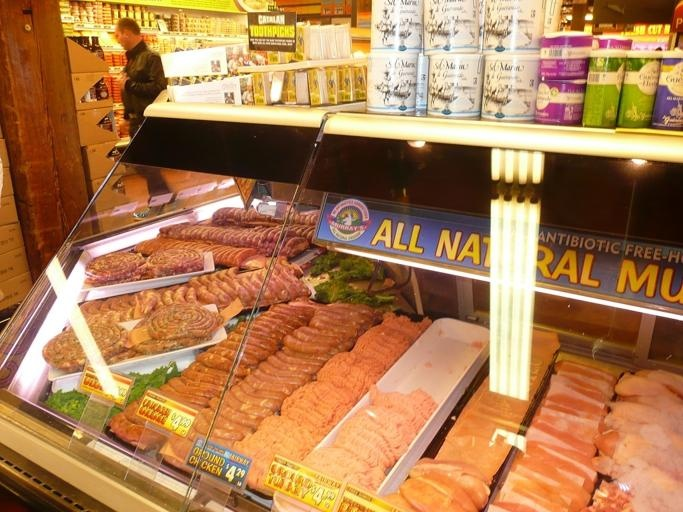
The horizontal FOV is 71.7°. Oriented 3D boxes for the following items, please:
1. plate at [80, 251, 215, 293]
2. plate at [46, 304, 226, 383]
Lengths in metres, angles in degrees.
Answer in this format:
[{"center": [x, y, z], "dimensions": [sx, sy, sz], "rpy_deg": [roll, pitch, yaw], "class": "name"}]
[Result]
[{"center": [-0.779, 0.040, 1.896], "dimensions": [0.338, 0.055, 0.204], "rpy_deg": [-5, 26, -11], "class": "plate"}, {"center": [-0.705, 0.331, 1.675], "dimensions": [0.503, 0.083, 0.274], "rpy_deg": [-17, 38, -15], "class": "plate"}]
